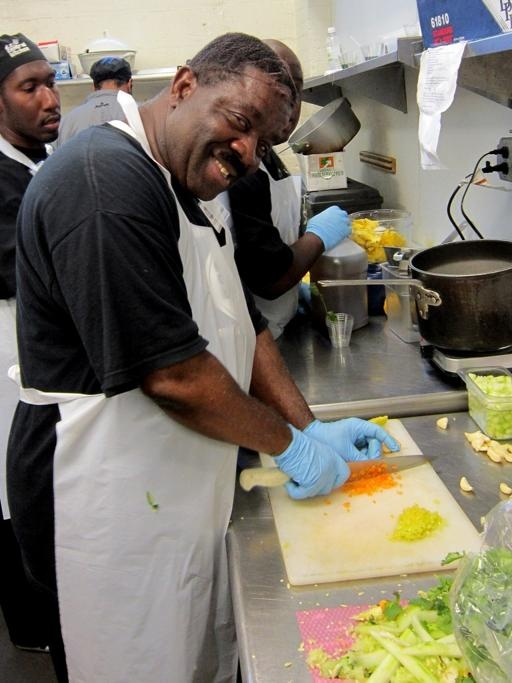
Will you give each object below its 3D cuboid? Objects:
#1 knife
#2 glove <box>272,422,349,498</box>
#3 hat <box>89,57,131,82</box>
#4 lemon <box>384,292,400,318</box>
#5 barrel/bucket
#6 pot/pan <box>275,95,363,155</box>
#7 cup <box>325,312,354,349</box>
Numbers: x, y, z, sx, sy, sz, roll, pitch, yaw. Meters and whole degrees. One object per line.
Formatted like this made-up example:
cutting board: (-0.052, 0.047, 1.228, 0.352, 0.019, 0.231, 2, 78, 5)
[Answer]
knife: (0.158, 0.241, 0.979, 0.398, 0.056, 0.054, -5, 11, -11)
glove: (0.094, 0.218, 0.958, 0.140, 0.054, 0.105, 25, 32, -16)
hat: (-0.729, -1.348, 2.748, 0.174, 0.095, 0.161, 7, 34, 12)
lemon: (0.405, -0.107, 1.644, 0.059, 0.091, 0.063, 0, 11, 0)
barrel/bucket: (0.247, -0.174, 1.646, 0.178, 0.305, 0.181, -4, 26, 2)
pot/pan: (0.263, -0.846, 2.219, 0.239, 0.095, 0.262, -14, 36, 42)
cup: (0.246, -0.032, 1.604, 0.104, 0.103, 0.097, -3, 5, 0)
